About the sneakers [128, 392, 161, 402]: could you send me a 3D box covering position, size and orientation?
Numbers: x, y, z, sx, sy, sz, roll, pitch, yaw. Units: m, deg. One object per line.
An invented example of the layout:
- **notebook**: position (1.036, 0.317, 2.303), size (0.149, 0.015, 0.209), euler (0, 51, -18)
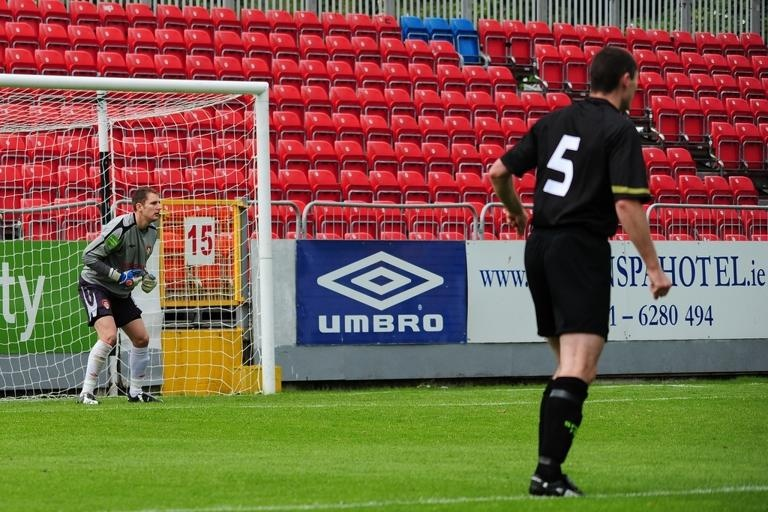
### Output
- **sneakers**: position (-3.248, 1.896, 18.320), size (0.473, 0.198, 0.160), euler (-1, -2, -2)

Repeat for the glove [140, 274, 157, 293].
- **glove**: position (-3.204, 0.361, 18.469), size (0.182, 0.164, 0.295), euler (10, 5, -10)

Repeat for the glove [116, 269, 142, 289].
- **glove**: position (-3.377, 0.281, 18.089), size (0.270, 0.120, 0.191), euler (-21, 35, -20)

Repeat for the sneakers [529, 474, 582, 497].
- **sneakers**: position (1.803, 2.457, 14.705), size (0.614, 0.255, 0.214), euler (5, -7, -5)

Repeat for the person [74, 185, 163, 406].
- **person**: position (-3.520, 0.510, 18.165), size (1.102, 2.823, 0.729), euler (-2, 13, -13)

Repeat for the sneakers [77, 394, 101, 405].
- **sneakers**: position (-3.932, 1.889, 18.095), size (0.321, 0.134, 0.112), euler (1, 0, 1)
